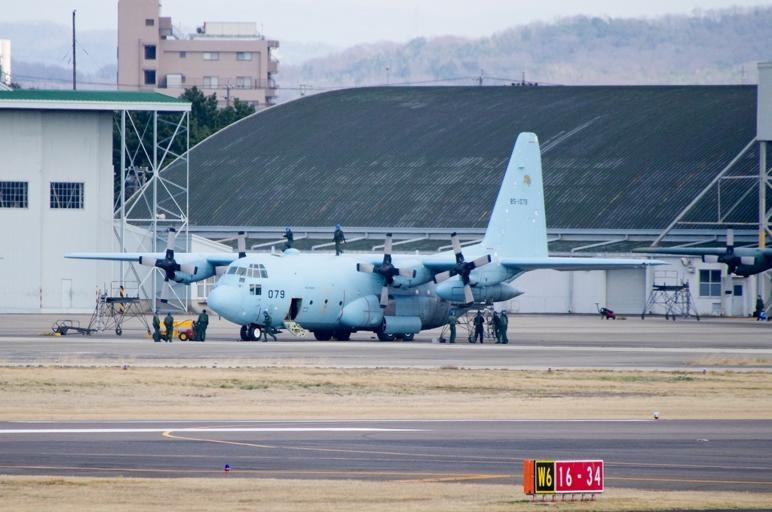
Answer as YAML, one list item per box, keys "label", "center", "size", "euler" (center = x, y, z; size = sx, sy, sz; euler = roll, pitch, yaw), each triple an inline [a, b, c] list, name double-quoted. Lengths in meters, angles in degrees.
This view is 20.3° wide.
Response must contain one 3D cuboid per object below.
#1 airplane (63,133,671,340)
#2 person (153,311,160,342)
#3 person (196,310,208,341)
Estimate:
- label: "airplane"
  center: [-0.620, -1.639, 149.055]
  size: [26.923, 14.722, 5.431]
  euler: [1, -3, -7]
- label: "person"
  center: [-15.775, 4.667, 145.965]
  size: [0.515, 1.827, 1.579]
  euler: [2, -3, -6]
- label: "person"
  center: [-12.947, 4.605, 147.401]
  size: [0.756, 2.063, 1.315]
  euler: [2, -3, -7]
